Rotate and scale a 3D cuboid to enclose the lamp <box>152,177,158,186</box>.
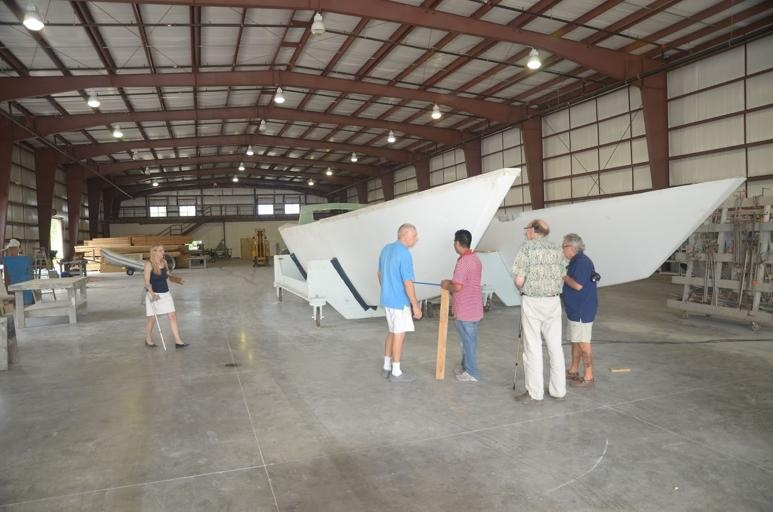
[{"bbox_3d":[-14.553,-4.650,31.611,0.339,0.348,0.335,-12,-20,-12],"label":"lamp"}]

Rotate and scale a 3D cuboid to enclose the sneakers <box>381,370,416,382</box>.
[{"bbox_3d":[0.153,1.538,6.367,0.397,0.166,0.135,-3,0,3],"label":"sneakers"}]

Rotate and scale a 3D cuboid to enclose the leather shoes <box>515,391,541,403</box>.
[{"bbox_3d":[1.619,1.606,5.780,0.237,0.105,0.110,-1,-4,35],"label":"leather shoes"}]

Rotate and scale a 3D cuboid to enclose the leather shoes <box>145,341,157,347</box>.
[{"bbox_3d":[-3.683,1.369,7.869,0.215,0.090,0.075,-3,0,34],"label":"leather shoes"}]

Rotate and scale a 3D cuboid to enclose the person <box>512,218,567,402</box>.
[{"bbox_3d":[1.752,0.630,5.715,0.622,1.992,0.580,7,17,30],"label":"person"}]

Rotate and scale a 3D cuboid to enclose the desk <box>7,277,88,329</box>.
[{"bbox_3d":[-6.444,0.947,9.959,1.335,0.697,1.584,-3,-4,-24],"label":"desk"}]

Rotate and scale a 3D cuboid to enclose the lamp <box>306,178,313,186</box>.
[{"bbox_3d":[-5.222,-4.992,34.384,0.470,0.257,0.721,-1,-4,-12],"label":"lamp"}]

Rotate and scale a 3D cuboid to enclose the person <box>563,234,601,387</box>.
[{"bbox_3d":[2.345,0.656,6.166,0.458,1.858,0.610,4,16,23],"label":"person"}]

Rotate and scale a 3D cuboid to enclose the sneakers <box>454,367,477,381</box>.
[{"bbox_3d":[0.987,1.490,6.301,0.108,0.130,0.290,2,-7,-26],"label":"sneakers"}]

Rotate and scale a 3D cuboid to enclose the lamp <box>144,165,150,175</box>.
[{"bbox_3d":[-14.268,-5.042,30.166,0.309,0.382,0.525,-9,16,-25],"label":"lamp"}]

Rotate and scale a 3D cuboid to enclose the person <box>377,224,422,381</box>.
[{"bbox_3d":[0.166,0.594,6.430,0.488,1.957,0.634,-2,15,0],"label":"person"}]

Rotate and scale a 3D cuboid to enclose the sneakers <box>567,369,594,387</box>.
[{"bbox_3d":[2.363,1.495,6.238,0.148,0.081,0.272,-3,9,-22],"label":"sneakers"}]

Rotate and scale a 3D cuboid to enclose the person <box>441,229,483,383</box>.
[{"bbox_3d":[0.938,0.633,6.196,0.447,1.845,0.369,0,15,8],"label":"person"}]

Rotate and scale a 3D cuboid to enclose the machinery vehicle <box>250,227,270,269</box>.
[{"bbox_3d":[-6.219,-0.382,24.661,0.684,1.678,1.319,-4,15,-10],"label":"machinery vehicle"}]

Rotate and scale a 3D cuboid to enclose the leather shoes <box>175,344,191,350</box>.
[{"bbox_3d":[-3.144,1.406,7.796,0.215,0.077,0.074,-4,2,-10],"label":"leather shoes"}]

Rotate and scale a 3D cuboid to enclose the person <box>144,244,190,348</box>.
[{"bbox_3d":[-3.631,0.606,8.140,0.660,1.756,1.434,-8,16,-23],"label":"person"}]
